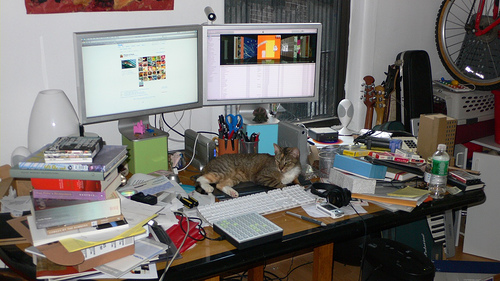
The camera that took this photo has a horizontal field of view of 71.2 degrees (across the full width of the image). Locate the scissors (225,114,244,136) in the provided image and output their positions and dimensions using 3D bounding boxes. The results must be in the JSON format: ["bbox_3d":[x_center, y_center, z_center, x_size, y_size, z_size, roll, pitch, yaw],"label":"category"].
[{"bbox_3d":[-0.110,-0.107,2.407,0.162,0.189,0.024,2,-3,-22],"label":"scissors"}]

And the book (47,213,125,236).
[{"bbox_3d":[-0.811,0.425,1.712,0.471,0.075,0.042,-11,-18,16],"label":"book"}]

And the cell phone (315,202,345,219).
[{"bbox_3d":[0.446,0.383,1.970,0.085,0.026,0.118,-13,25,-31],"label":"cell phone"}]

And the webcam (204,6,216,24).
[{"bbox_3d":[-0.303,-0.948,2.617,0.074,0.139,0.185,-7,13,-4],"label":"webcam"}]

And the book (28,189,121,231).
[{"bbox_3d":[-0.866,0.344,1.728,0.239,0.052,0.229,-7,20,-29],"label":"book"}]

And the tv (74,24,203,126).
[{"bbox_3d":[-0.732,-0.444,2.260,0.739,0.471,0.076,-10,20,-26],"label":"tv"}]

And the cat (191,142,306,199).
[{"bbox_3d":[-0.014,0.187,2.212,0.650,0.267,0.338,0,30,-2],"label":"cat"}]

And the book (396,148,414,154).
[{"bbox_3d":[0.978,0.058,2.188,0.069,0.028,0.103,6,16,40],"label":"book"}]

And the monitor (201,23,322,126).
[{"bbox_3d":[0.077,-0.494,2.580,0.941,0.702,0.283,-7,18,-23],"label":"monitor"}]

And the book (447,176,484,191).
[{"bbox_3d":[1.333,0.265,2.148,0.216,0.079,0.083,-3,13,12],"label":"book"}]

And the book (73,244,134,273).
[{"bbox_3d":[-0.665,0.549,1.640,0.139,0.029,0.125,-11,17,-34],"label":"book"}]

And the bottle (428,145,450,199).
[{"bbox_3d":[1.139,0.176,2.116,0.105,0.306,0.221,1,15,28],"label":"bottle"}]
